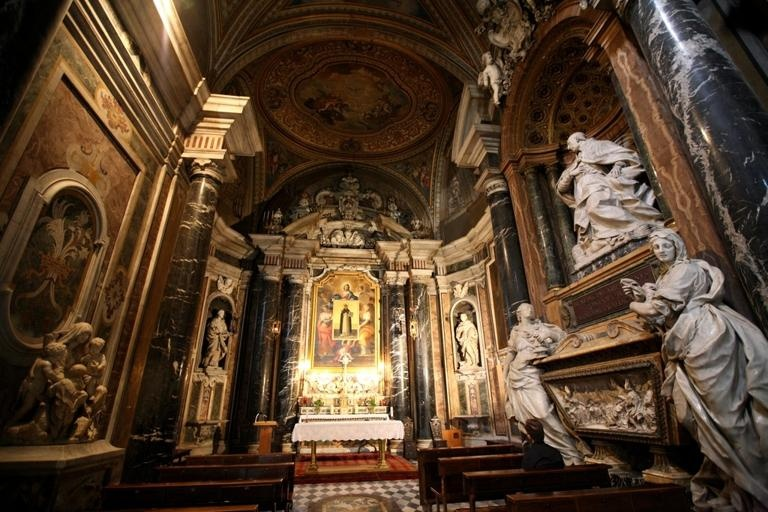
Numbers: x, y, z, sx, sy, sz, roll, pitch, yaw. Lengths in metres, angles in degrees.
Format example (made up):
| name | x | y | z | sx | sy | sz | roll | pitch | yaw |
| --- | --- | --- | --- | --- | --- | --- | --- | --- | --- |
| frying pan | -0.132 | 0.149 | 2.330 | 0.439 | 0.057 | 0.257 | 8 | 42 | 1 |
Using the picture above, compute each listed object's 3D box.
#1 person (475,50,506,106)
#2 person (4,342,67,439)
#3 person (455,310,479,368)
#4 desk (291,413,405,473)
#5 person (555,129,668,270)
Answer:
| name | x | y | z | sx | sy | sz | roll | pitch | yaw |
| --- | --- | --- | --- | --- | --- | --- | --- | --- | --- |
| person | 1.838 | -3.023 | 7.101 | 0.470 | 0.926 | 0.244 | -9 | -4 | 22 |
| person | -3.232 | 1.263 | 3.882 | 0.334 | 0.889 | 0.419 | 17 | -29 | -32 |
| person | 1.944 | 1.972 | 9.660 | 0.614 | 1.323 | 0.228 | -18 | -30 | 34 |
| desk | -0.771 | 3.612 | 8.191 | 1.994 | 1.004 | 1.564 | 4 | -24 | -10 |
| person | 2.956 | -0.700 | 5.344 | 0.846 | 1.965 | 1.152 | 9 | -36 | -5 |
